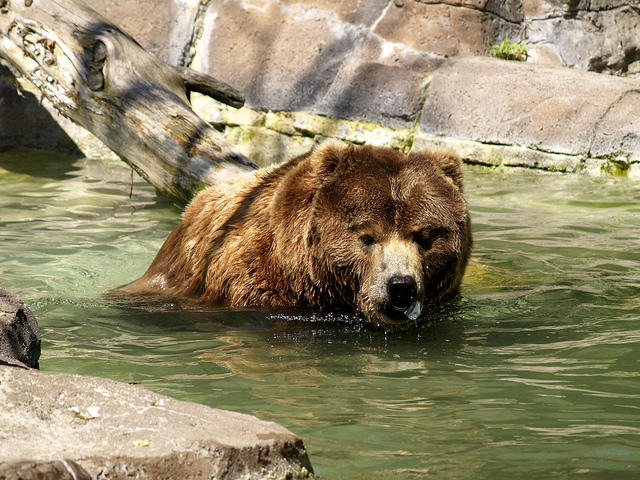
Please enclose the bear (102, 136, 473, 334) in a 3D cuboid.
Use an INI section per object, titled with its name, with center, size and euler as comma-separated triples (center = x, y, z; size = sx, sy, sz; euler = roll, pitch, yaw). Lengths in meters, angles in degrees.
[bear]
center = -0.196, -0.057, 5.936
size = 1.754, 0.632, 1.969
euler = -8, 8, -37
